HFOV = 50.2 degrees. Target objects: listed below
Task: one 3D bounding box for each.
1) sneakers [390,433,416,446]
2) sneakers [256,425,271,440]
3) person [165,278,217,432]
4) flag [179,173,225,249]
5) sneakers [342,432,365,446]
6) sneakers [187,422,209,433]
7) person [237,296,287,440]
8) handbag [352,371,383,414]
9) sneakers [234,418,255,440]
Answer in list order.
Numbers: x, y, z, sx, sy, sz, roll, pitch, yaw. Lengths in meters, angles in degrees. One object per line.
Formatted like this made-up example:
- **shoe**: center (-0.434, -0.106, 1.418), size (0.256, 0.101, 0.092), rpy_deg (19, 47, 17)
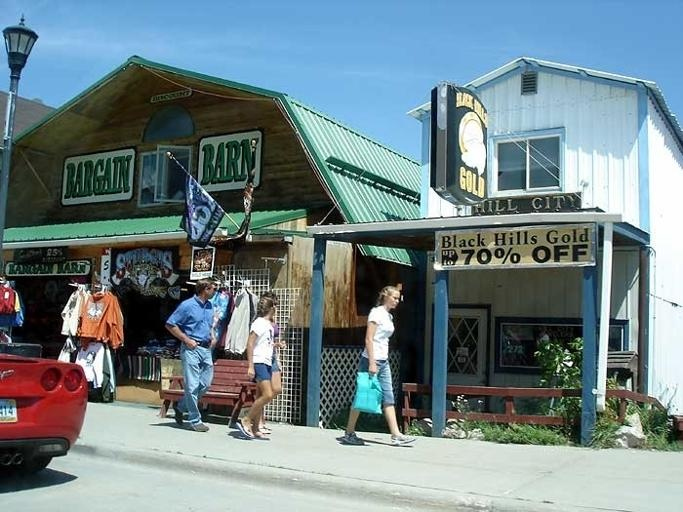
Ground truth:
- **sneakers**: center (0.918, 2.775, 11.111), size (0.322, 0.147, 0.171), rpy_deg (-1, -2, -3)
- **sneakers**: center (-1.240, 2.774, 11.527), size (0.111, 0.142, 0.344), rpy_deg (2, -1, 20)
- **person**: center (-2.425, 1.565, 11.733), size (0.712, 2.456, 0.785), rpy_deg (5, -5, -11)
- **flag**: center (-2.676, -1.077, 13.674), size (0.774, 2.085, 0.172), rpy_deg (-17, 38, -22)
- **sneakers**: center (0.153, 2.809, 11.220), size (0.342, 0.158, 0.151), rpy_deg (-1, -5, 27)
- **sneakers**: center (-2.336, 2.742, 11.741), size (0.286, 0.122, 0.163), rpy_deg (-3, -5, 42)
- **person**: center (-1.228, 1.687, 11.202), size (0.587, 2.240, 0.766), rpy_deg (4, -5, -7)
- **handbag**: center (0.399, 2.003, 10.809), size (0.440, 0.594, 0.278), rpy_deg (4, -5, 2)
- **sneakers**: center (-1.513, 2.709, 11.334), size (0.167, 0.443, 0.157), rpy_deg (-38, -10, 11)
